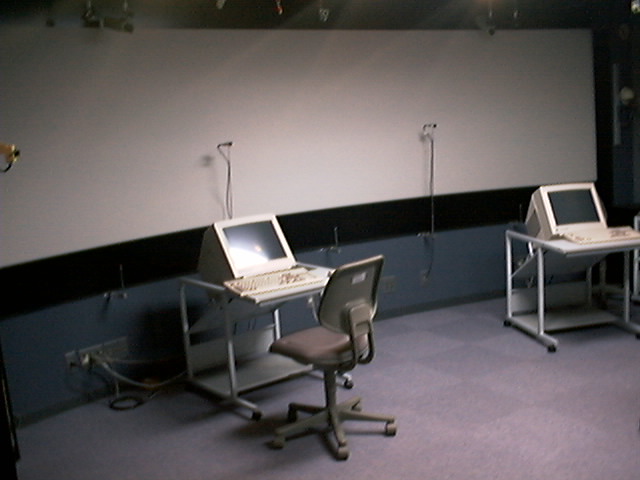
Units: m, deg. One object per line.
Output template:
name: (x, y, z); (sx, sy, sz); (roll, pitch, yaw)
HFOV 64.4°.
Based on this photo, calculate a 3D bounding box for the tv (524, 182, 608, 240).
tv: (2.241, -0.282, 4.608); (0.642, 0.485, 0.486); (-6, 8, -19)

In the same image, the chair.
chair: (0.077, 0.722, 3.450); (0.798, 1.255, 0.715); (-8, 12, -40)

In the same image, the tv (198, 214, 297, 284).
tv: (-0.574, 0.061, 4.000); (0.721, 0.493, 0.512); (-7, 6, -34)
